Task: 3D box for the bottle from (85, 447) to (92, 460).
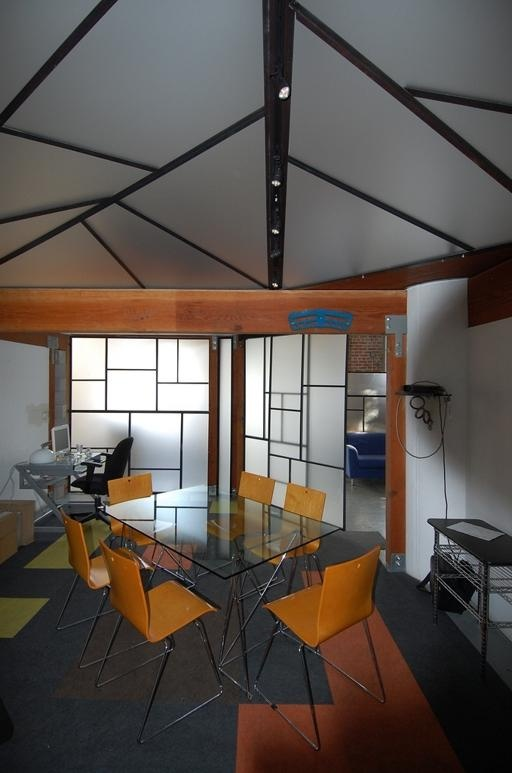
[{"bbox_3d":[-1.799,0.713,5.557,0.070,0.141,0.072,1,3,0],"label":"bottle"}]
